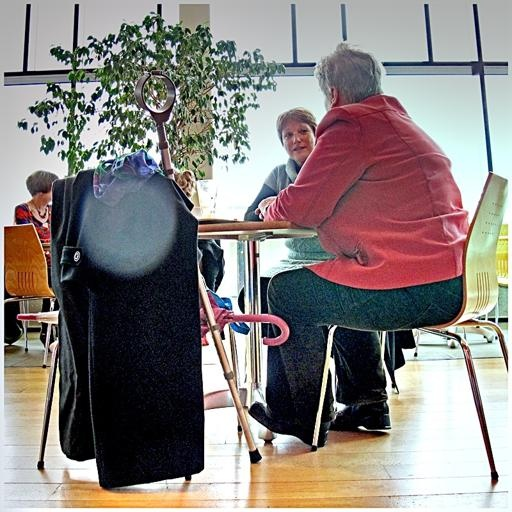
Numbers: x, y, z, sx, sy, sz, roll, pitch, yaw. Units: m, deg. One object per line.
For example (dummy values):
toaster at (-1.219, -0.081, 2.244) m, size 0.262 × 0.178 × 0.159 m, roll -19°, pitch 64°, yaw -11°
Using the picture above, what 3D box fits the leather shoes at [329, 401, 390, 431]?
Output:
leather shoes at (0.363, 0.553, 2.109) m, size 0.245 × 0.109 × 0.087 m, roll 0°, pitch -6°, yaw 14°

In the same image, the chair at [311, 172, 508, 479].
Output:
chair at (0.478, 0.161, 2.190) m, size 0.743 × 1.136 × 0.664 m, roll 1°, pitch -4°, yaw 19°

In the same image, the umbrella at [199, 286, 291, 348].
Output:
umbrella at (-0.030, 0.198, 1.767) m, size 0.240 × 0.106 × 0.154 m, roll 11°, pitch 15°, yaw 4°

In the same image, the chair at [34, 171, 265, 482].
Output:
chair at (-0.221, 0.174, 1.950) m, size 0.651 × 1.101 × 0.680 m, roll -4°, pitch -2°, yaw 39°

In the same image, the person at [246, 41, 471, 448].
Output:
person at (0.283, -0.038, 1.758) m, size 0.628 × 1.222 × 0.252 m, roll 0°, pitch 2°, yaw 18°
